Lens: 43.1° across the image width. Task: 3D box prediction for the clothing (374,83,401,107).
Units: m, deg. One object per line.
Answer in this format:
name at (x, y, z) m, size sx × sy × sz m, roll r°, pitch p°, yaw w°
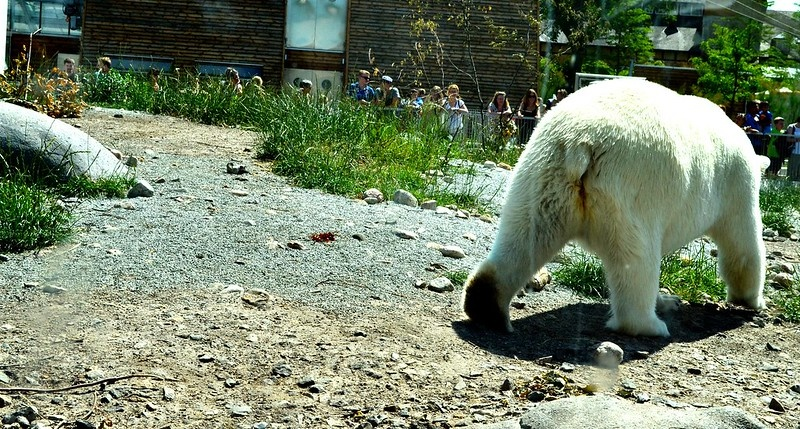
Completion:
clothing at (-0.243, -2.609, 21.862) m, size 0.439 × 0.358 × 0.736 m, roll 2°, pitch 30°, yaw 1°
